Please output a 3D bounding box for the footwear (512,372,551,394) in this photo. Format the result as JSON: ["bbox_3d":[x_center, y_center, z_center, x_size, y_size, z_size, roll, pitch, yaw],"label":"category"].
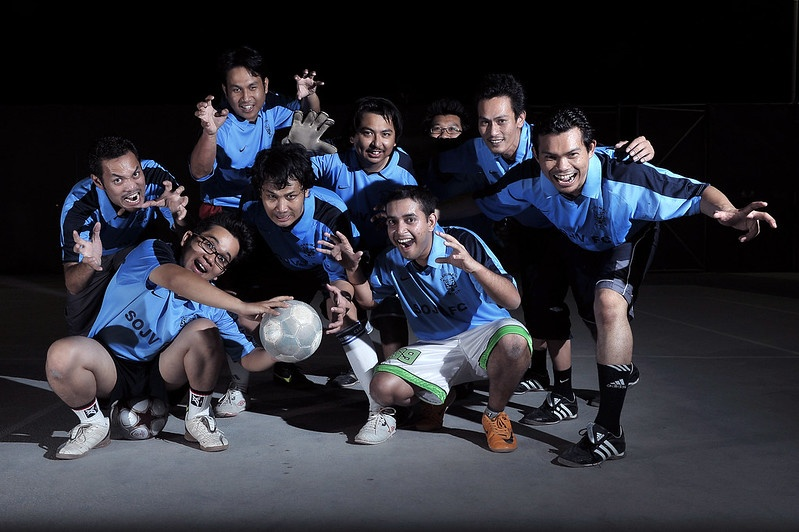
[{"bbox_3d":[0.885,0.766,3.775,0.378,0.147,0.131,2,-4,-24],"label":"footwear"}]

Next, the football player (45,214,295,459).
[{"bbox_3d":[-1.145,0.368,3.065,1.203,1.209,0.818,7,-16,-21],"label":"football player"}]

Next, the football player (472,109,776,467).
[{"bbox_3d":[1.117,0.033,3.011,0.956,1.647,1.133,-1,17,-17],"label":"football player"}]

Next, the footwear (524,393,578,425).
[{"bbox_3d":[0.866,0.798,3.219,0.386,0.158,0.132,0,0,-34],"label":"footwear"}]

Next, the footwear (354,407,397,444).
[{"bbox_3d":[-0.113,0.833,2.987,0.105,0.108,0.283,-2,-6,23],"label":"footwear"}]

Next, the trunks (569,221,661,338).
[{"bbox_3d":[1.157,0.047,3.155,0.324,0.803,0.438,-15,21,-37],"label":"trunks"}]

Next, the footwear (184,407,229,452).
[{"bbox_3d":[-0.960,0.839,2.867,0.265,0.114,0.130,-1,-4,43],"label":"footwear"}]

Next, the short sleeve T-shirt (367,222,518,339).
[{"bbox_3d":[0.213,0.090,3.097,0.640,0.441,0.401,-25,-2,31],"label":"short sleeve T-shirt"}]

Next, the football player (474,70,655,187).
[{"bbox_3d":[0.862,-0.855,3.699,0.706,0.331,0.865,-3,35,-31],"label":"football player"}]

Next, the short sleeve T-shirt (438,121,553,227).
[{"bbox_3d":[0.590,-0.555,3.411,0.726,0.381,0.197,34,38,20],"label":"short sleeve T-shirt"}]

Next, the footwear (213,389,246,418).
[{"bbox_3d":[-0.982,0.804,3.303,0.096,0.094,0.233,-2,-14,6],"label":"footwear"}]

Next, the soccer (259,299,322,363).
[{"bbox_3d":[-0.528,0.334,2.848,0.335,0.303,0.316,-3,1,18],"label":"soccer"}]

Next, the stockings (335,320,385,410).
[{"bbox_3d":[-0.191,0.583,3.126,0.187,0.533,0.143,-10,-15,8],"label":"stockings"}]

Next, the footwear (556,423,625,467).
[{"bbox_3d":[0.919,0.835,2.687,0.427,0.166,0.154,1,1,-32],"label":"footwear"}]

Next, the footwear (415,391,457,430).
[{"bbox_3d":[0.159,0.816,3.197,0.128,0.150,0.378,-28,-12,22],"label":"footwear"}]

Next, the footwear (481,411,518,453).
[{"bbox_3d":[0.521,0.829,2.854,0.189,0.170,0.195,3,16,-3],"label":"footwear"}]

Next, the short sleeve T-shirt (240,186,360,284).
[{"bbox_3d":[-0.587,-0.212,3.469,0.644,0.323,0.547,31,-10,5],"label":"short sleeve T-shirt"}]

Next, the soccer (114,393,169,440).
[{"bbox_3d":[-1.322,0.784,2.940,0.229,0.152,0.222,10,-22,-40],"label":"soccer"}]

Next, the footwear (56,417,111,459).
[{"bbox_3d":[-1.558,0.847,2.818,0.127,0.134,0.324,4,2,9],"label":"footwear"}]

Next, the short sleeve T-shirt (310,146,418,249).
[{"bbox_3d":[-0.226,-0.421,3.608,0.714,0.656,0.275,-12,10,10],"label":"short sleeve T-shirt"}]
